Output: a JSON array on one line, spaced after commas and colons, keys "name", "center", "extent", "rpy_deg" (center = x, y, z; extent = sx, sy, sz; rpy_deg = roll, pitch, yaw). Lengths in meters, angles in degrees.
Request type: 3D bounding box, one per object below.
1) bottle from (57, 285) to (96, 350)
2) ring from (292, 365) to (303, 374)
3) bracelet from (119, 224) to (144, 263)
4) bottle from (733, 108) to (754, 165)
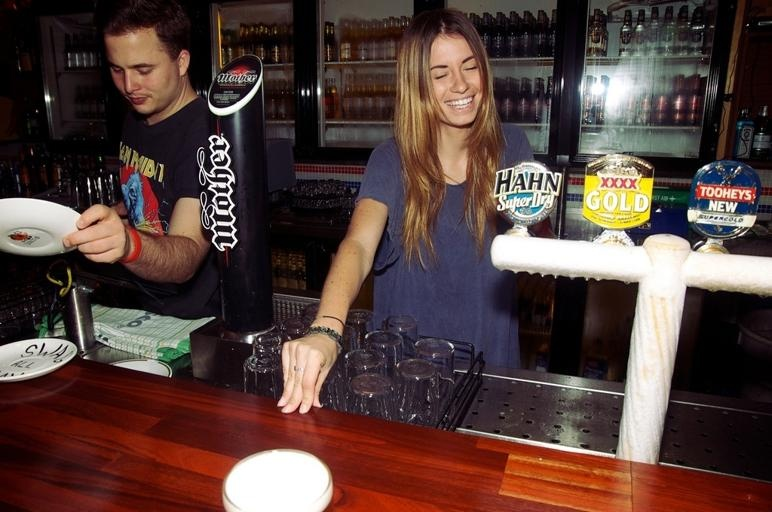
[{"name": "bottle", "center": [-1.060, 0.214, 1.806], "extent": [0.098, 0.242, 0.069], "rpy_deg": [-12, 22, -34]}, {"name": "ring", "center": [-0.236, 0.305, 1.399], "extent": [0.022, 0.008, 0.023], "rpy_deg": [2, 2, 0]}, {"name": "bracelet", "center": [-0.866, -0.036, 1.782], "extent": [0.080, 0.109, 0.040], "rpy_deg": [-17, 49, -13]}, {"name": "bottle", "center": [2.485, -0.849, 3.624], "extent": [0.124, 0.327, 0.357], "rpy_deg": [12, 22, 32]}]
